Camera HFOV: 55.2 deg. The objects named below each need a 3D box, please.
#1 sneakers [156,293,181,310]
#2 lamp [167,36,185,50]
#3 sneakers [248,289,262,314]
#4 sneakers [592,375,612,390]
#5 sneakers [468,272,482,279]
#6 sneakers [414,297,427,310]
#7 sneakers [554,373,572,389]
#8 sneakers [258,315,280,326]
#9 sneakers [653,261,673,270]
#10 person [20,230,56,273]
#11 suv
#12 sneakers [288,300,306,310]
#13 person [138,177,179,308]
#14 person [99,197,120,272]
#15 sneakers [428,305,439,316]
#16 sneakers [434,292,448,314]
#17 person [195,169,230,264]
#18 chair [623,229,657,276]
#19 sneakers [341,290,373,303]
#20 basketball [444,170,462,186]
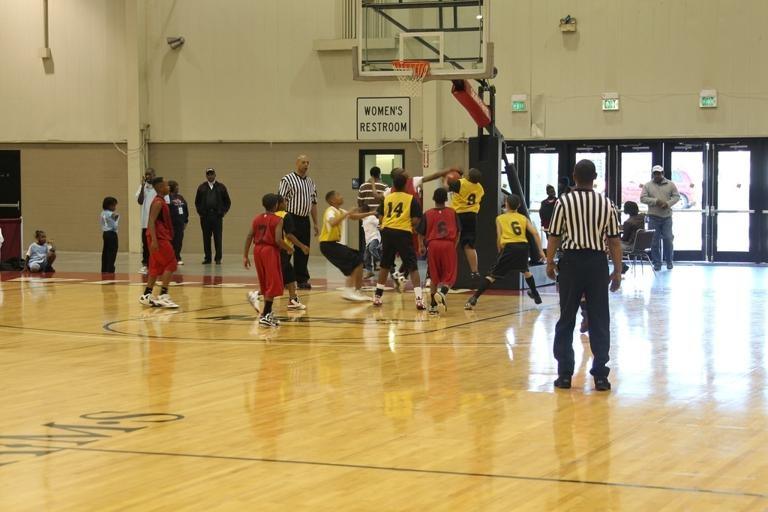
[{"bbox_3d":[-3.140,0.654,10.618,0.434,0.192,0.159,4,1,27],"label":"sneakers"},{"bbox_3d":[-5.639,-5.812,19.892,0.513,0.374,0.149,1,3,24],"label":"lamp"},{"bbox_3d":[-1.798,0.648,10.260,0.182,0.153,0.431,-17,-30,6],"label":"sneakers"},{"bbox_3d":[1.848,1.076,6.231,0.085,0.092,0.214,-1,-9,9],"label":"sneakers"},{"bbox_3d":[1.530,0.317,12.221,0.098,0.160,0.156,1,-7,-29],"label":"sneakers"},{"bbox_3d":[0.527,0.663,10.445,0.088,0.113,0.264,1,4,9],"label":"sneakers"},{"bbox_3d":[1.542,1.063,6.310,0.146,0.103,0.238,1,3,13],"label":"sneakers"},{"bbox_3d":[-1.375,0.800,9.096,0.322,0.148,0.104,-1,4,-34],"label":"sneakers"},{"bbox_3d":[6.143,0.201,16.161,0.468,0.204,0.149,-8,-1,0],"label":"sneakers"},{"bbox_3d":[-7.387,-0.130,15.816,0.667,0.877,0.631,0,3,-32],"label":"person"},{"bbox_3d":[6.837,-1.769,18.479,1.957,1.033,1.139,5,1,6],"label":"suv"},{"bbox_3d":[-1.217,0.697,10.457,0.268,0.124,0.102,1,1,-39],"label":"sneakers"},{"bbox_3d":[-3.277,-0.214,10.668,0.521,1.887,1.126,-1,3,-18],"label":"person"},{"bbox_3d":[-5.879,-0.475,15.711,0.329,1.606,1.192,-1,3,-22],"label":"person"},{"bbox_3d":[0.694,0.750,10.114,0.115,0.145,0.347,1,2,6],"label":"sneakers"},{"bbox_3d":[0.796,0.643,10.252,0.141,0.306,0.141,4,47,30],"label":"sneakers"},{"bbox_3d":[-4.108,-0.961,17.702,0.711,2.236,0.987,-2,3,-30],"label":"person"},{"bbox_3d":[5.055,-0.075,14.670,0.565,0.790,0.575,-8,8,-14],"label":"chair"},{"bbox_3d":[-0.372,0.612,11.372,0.526,0.227,0.178,2,2,-13],"label":"sneakers"},{"bbox_3d":[1.141,-1.301,12.021,0.293,0.279,0.171,-1,-1,-28],"label":"basketball"}]
